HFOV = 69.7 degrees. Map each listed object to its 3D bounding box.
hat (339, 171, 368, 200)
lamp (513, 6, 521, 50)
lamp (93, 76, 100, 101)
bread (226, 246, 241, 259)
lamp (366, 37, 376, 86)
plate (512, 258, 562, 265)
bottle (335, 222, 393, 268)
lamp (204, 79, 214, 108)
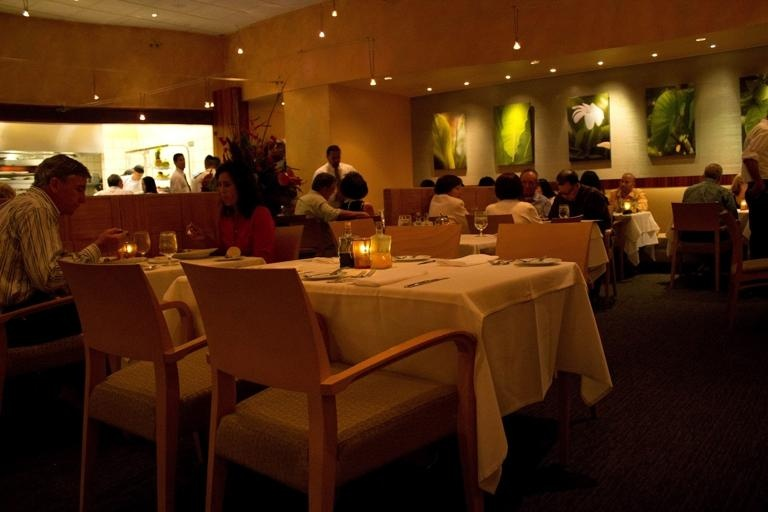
[{"bbox_3d":[-0.358,-0.821,6.603,0.262,0.379,0.377,3,19,13],"label":"hat"},{"bbox_3d":[2.088,-3.642,8.756,0.086,0.687,0.127,-10,11,-33],"label":"lamp"},{"bbox_3d":[-5.724,-3.332,10.960,0.141,0.445,0.069,-9,10,-29],"label":"lamp"},{"bbox_3d":[-1.041,-0.026,3.849,0.073,0.089,0.019,12,5,-15],"label":"bread"},{"bbox_3d":[-0.226,-3.549,9.933,0.136,0.792,0.364,-4,9,-2],"label":"lamp"},{"bbox_3d":[0.831,0.037,2.987,0.239,0.013,0.143,-1,12,21],"label":"plate"},{"bbox_3d":[-0.118,-0.040,3.166,0.267,0.308,0.173,2,3,27],"label":"bottle"},{"bbox_3d":[-3.783,-3.529,11.902,0.164,0.640,0.285,-6,9,-14],"label":"lamp"}]
